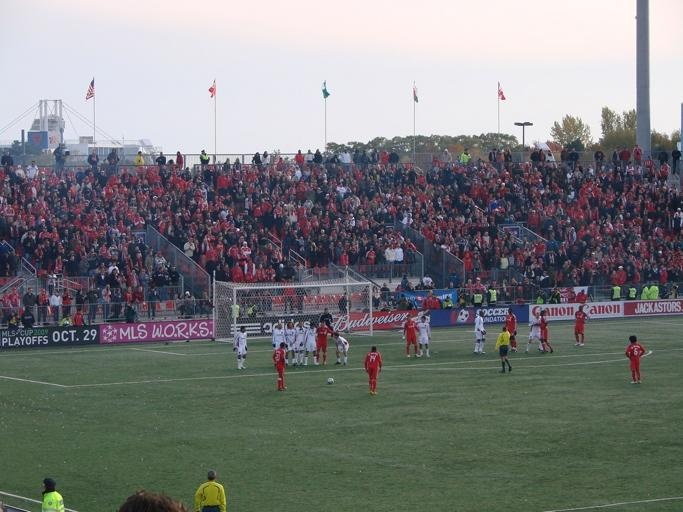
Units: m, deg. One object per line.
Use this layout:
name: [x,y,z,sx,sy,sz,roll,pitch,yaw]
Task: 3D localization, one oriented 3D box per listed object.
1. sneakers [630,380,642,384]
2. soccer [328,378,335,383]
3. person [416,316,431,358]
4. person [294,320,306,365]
sneakers: [14.709,6.401,82.218,0.528,0.250,0.185,4,4,28]
soccer: [-0.513,6.386,82.452,0.221,0.239,0.288,-17,-43,41]
person: [4.514,4.483,90.523,0.669,2.259,1.540,-1,-2,2]
person: [-2.222,4.813,88.033,0.596,2.300,0.924,-1,-2,0]
